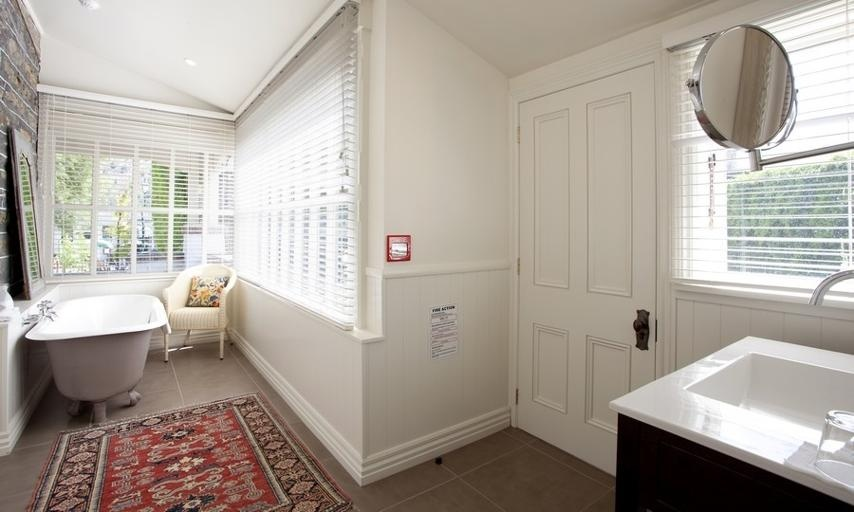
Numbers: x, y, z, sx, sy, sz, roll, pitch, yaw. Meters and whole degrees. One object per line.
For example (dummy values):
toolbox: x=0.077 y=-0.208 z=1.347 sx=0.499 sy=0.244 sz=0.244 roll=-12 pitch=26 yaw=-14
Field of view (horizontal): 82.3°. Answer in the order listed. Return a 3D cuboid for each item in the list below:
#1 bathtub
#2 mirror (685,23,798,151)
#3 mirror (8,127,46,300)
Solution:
bathtub: x=-3.192 y=0.842 z=4.783 sx=0.898 sy=0.494 sz=1.300 roll=4 pitch=-1 yaw=-33
mirror: x=1.561 y=-0.833 z=2.428 sx=0.556 sy=0.614 sz=0.087 roll=-2 pitch=6 yaw=-9
mirror: x=-4.086 y=-0.431 z=5.004 sx=0.122 sy=1.665 sz=0.767 roll=-5 pitch=7 yaw=-32
